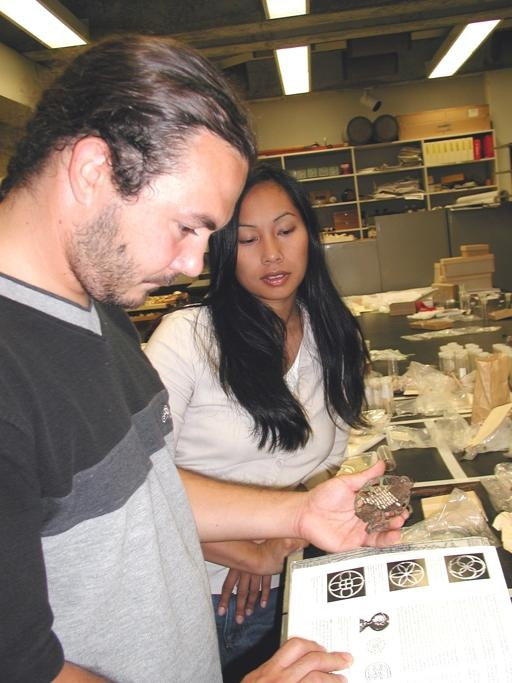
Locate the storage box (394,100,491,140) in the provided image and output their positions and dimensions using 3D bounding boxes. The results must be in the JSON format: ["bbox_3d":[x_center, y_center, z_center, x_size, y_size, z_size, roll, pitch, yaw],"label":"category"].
[{"bbox_3d":[2.187,-2.510,6.691,0.766,0.229,0.555,-5,8,5],"label":"storage box"}]

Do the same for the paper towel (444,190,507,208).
[{"bbox_3d":[1.941,-1.223,5.004,0.496,0.111,0.240,-5,10,20],"label":"paper towel"}]
